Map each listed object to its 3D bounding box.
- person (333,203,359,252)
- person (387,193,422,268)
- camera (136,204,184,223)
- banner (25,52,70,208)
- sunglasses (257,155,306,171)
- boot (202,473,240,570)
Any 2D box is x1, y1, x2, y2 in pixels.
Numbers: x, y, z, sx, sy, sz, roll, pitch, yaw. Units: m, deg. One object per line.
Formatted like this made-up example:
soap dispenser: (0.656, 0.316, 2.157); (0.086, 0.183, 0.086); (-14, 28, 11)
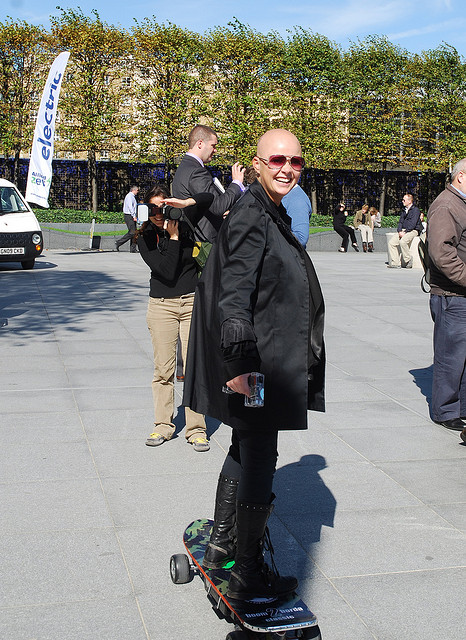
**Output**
person: (4.150, -3.429, 25.647); (0.979, 1.780, 1.097); (3, 10, 8)
person: (4.562, -2.352, 18.449); (0.726, 1.970, 0.953); (2, 10, 0)
camera: (-0.483, -0.703, 4.547); (0.254, 0.083, 0.143); (0, 2, -19)
banner: (-5.449, -5.571, 20.170); (0.924, 4.502, 1.611); (2, 10, -1)
sunglasses: (0.170, -0.573, 2.530); (0.173, 0.053, 0.108); (2, 8, 0)
boot: (-0.049, 0.794, 2.770); (0.123, 0.335, 0.174); (3, 10, 7)
